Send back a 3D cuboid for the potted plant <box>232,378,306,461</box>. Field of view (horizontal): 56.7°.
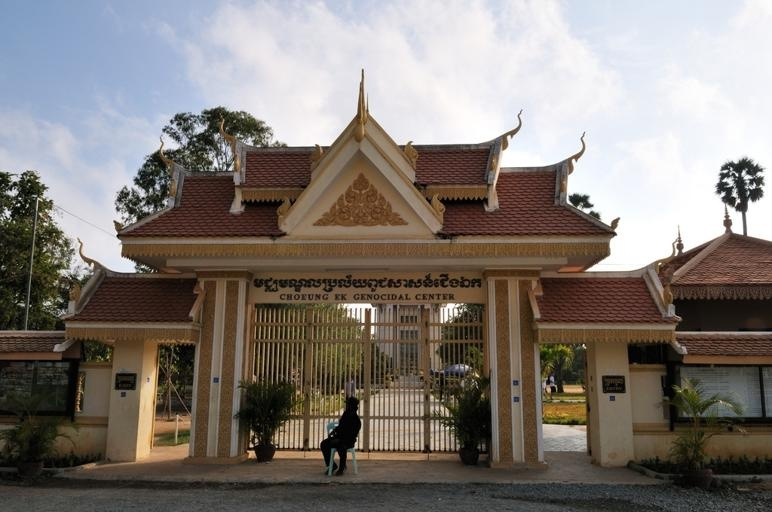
[{"bbox_3d":[-3.225,4.512,19.652,1.939,2.029,1.874,1,-15,-5],"label":"potted plant"}]

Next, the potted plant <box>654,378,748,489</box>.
[{"bbox_3d":[7.852,4.547,17.925,2.068,2.759,2.339,-1,-8,-31],"label":"potted plant"}]

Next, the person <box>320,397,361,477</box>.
[{"bbox_3d":[-1.128,4.483,17.893,0.959,1.807,0.623,-1,4,-15],"label":"person"}]

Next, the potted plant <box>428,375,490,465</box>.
[{"bbox_3d":[2.148,4.388,19.682,2.254,2.627,1.960,-1,-8,0],"label":"potted plant"}]

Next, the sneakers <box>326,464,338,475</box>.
[{"bbox_3d":[-1.322,5.280,17.860,0.272,0.221,0.519,0,4,-6],"label":"sneakers"}]

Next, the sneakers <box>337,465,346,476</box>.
[{"bbox_3d":[-1.099,5.310,17.731,0.169,0.185,0.216,0,4,-4],"label":"sneakers"}]

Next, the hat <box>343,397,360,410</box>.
[{"bbox_3d":[-0.851,3.764,18.110,0.331,0.398,0.405,-3,3,2],"label":"hat"}]
